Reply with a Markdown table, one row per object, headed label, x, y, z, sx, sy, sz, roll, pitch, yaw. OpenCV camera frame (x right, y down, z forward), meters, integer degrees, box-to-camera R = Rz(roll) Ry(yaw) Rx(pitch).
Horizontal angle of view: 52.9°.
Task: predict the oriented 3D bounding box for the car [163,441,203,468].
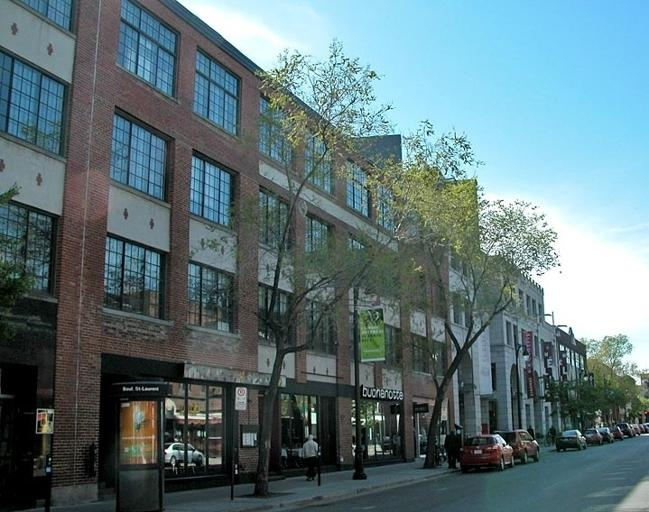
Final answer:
| label | x | y | z | sx | sy | sz | roll | pitch | yaw |
| --- | --- | --- | --- | --- | --- | --- | --- | --- | --- |
| car | -5.305 | 7.452 | 24.395 | 0.732 | 0.696 | 1.744 | -5 | -11 | 29 |

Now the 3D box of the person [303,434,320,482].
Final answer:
| label | x | y | z | sx | sy | sz | roll | pitch | yaw |
| --- | --- | --- | --- | --- | --- | --- | --- | --- | --- |
| person | -0.612 | 8.583 | 28.051 | 0.600 | 1.967 | 0.563 | 5 | 11 | 6 |

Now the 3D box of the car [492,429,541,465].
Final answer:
| label | x | y | z | sx | sy | sz | roll | pitch | yaw |
| --- | --- | --- | --- | --- | --- | --- | --- | --- | --- |
| car | 11.285 | 10.965 | 38.175 | 1.731 | 1.797 | 3.874 | -6 | -12 | 28 |
